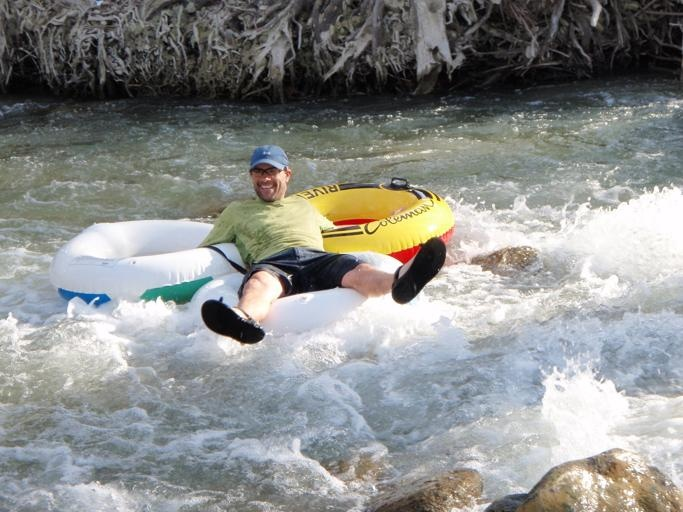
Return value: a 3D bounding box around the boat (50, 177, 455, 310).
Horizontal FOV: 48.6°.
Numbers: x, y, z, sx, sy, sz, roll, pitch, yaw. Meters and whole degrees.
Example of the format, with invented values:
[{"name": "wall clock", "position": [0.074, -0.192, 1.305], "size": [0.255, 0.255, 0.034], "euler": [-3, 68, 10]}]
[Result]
[{"name": "boat", "position": [-0.838, -0.001, 7.240], "size": [3.478, 0.395, 1.630], "euler": [-6, 11, -15]}]
